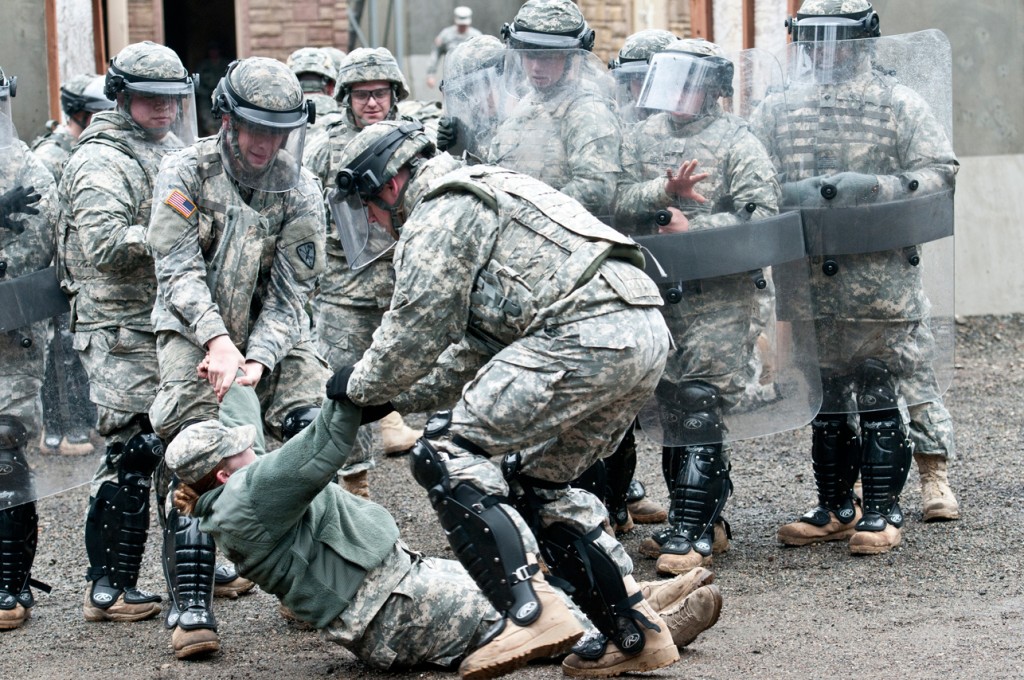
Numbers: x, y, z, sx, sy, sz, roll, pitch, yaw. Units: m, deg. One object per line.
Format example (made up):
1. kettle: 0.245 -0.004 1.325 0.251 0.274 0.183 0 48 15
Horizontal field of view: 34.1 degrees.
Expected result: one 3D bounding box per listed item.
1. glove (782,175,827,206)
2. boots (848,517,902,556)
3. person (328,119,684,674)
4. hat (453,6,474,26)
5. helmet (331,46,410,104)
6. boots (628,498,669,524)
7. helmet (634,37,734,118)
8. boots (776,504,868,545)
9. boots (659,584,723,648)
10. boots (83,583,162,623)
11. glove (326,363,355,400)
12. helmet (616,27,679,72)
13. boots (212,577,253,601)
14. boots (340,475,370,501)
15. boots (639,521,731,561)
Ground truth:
1. glove: 1.592 -0.807 9.188 0.243 0.165 0.058 -1 2 9
2. boots: 2.020 1.105 9.356 0.154 0.141 0.305 -5 -6 45
3. person: -0.019 0.288 8.026 1.572 2.726 0.698 -1 2 4
4. hat: -0.537 -3.530 18.177 0.171 0.270 0.513 -1 2 -4
5. helmet: -0.959 -1.709 10.812 0.428 0.259 0.412 -2 -4 -20
6. boots: 0.833 1.039 10.041 0.253 0.108 0.113 -4 2 23
7. helmet: 0.906 -1.445 9.137 0.492 0.389 0.366 10 13 -1
8. boots: 1.775 1.084 9.702 0.520 0.233 0.195 1 1 -13
9. boots: 0.861 1.370 8.249 0.209 0.156 0.472 -1 -29 -33
10. boots: -2.095 1.431 9.100 0.392 0.252 0.187 -4 -1 -1
11. glove: -0.808 0.205 7.900 0.171 0.163 0.122 10 4 6
12. helmet: 0.700 -1.646 9.445 0.280 0.273 0.345 -10 18 -43
13. boots: -1.545 1.375 9.233 0.264 0.122 0.094 -6 4 -11
14. boots: -0.895 0.835 9.425 0.110 0.132 0.197 6 12 44
15. boots: 0.990 1.143 9.478 0.574 0.249 0.202 1 5 -29
